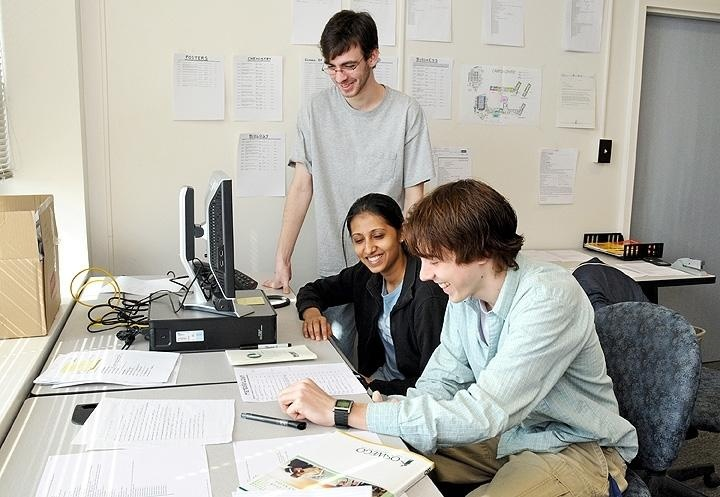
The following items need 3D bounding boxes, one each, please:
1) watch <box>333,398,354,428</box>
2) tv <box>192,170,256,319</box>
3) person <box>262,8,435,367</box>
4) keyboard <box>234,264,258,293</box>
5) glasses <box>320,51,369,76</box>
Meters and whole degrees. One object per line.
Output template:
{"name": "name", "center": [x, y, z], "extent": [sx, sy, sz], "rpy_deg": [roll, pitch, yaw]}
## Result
{"name": "watch", "center": [-0.049, 0.462, 1.400], "extent": [0.052, 0.066, 0.063], "rpy_deg": [2, 8, 3]}
{"name": "tv", "center": [-0.621, -0.044, 2.263], "extent": [0.285, 0.646, 0.672], "rpy_deg": [-1, 8, -15]}
{"name": "person", "center": [-0.032, 0.045, 2.858], "extent": [0.930, 2.499, 0.642], "rpy_deg": [5, 27, 9]}
{"name": "keyboard", "center": [-0.570, 0.151, 2.440], "extent": [0.076, 0.023, 0.165], "rpy_deg": [-5, 19, -24]}
{"name": "glasses", "center": [-0.047, -0.861, 2.348], "extent": [0.122, 0.041, 0.125], "rpy_deg": [-17, 9, 33]}
